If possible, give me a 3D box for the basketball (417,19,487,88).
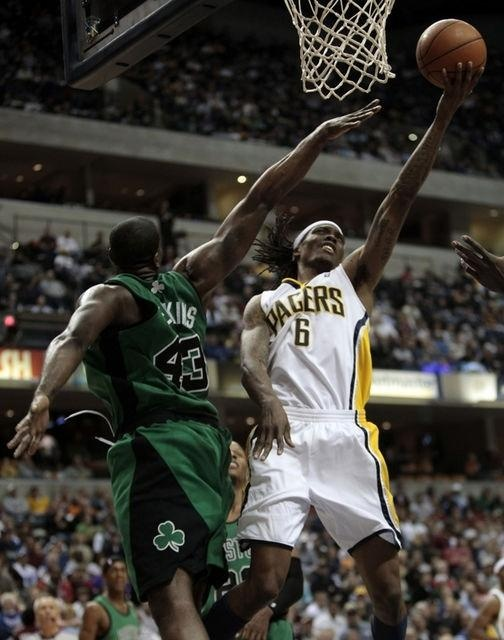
[{"bbox_3d":[0.790,-1.039,3.185,0.234,0.231,0.337,3,29,-4],"label":"basketball"}]
